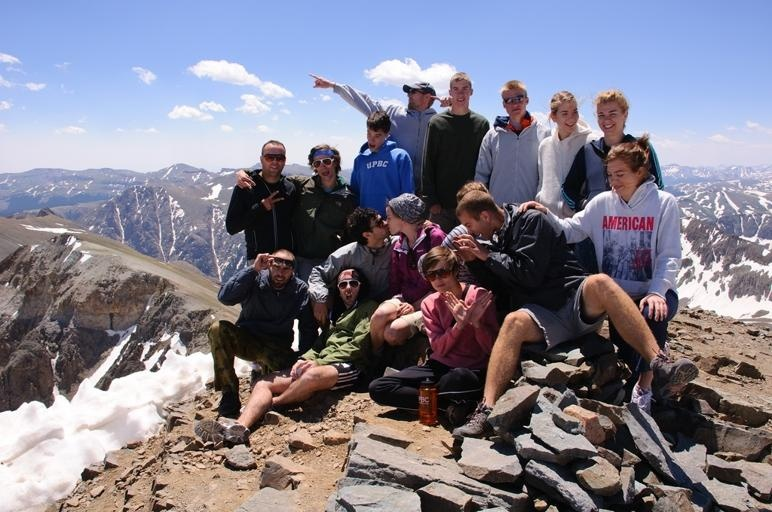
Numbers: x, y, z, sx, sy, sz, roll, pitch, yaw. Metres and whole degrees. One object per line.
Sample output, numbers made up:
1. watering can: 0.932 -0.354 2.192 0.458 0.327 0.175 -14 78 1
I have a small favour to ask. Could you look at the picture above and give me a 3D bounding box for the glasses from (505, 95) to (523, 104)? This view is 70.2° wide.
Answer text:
1. glasses: 3.165 -3.890 13.710 0.467 0.151 0.121 -7 3 13
